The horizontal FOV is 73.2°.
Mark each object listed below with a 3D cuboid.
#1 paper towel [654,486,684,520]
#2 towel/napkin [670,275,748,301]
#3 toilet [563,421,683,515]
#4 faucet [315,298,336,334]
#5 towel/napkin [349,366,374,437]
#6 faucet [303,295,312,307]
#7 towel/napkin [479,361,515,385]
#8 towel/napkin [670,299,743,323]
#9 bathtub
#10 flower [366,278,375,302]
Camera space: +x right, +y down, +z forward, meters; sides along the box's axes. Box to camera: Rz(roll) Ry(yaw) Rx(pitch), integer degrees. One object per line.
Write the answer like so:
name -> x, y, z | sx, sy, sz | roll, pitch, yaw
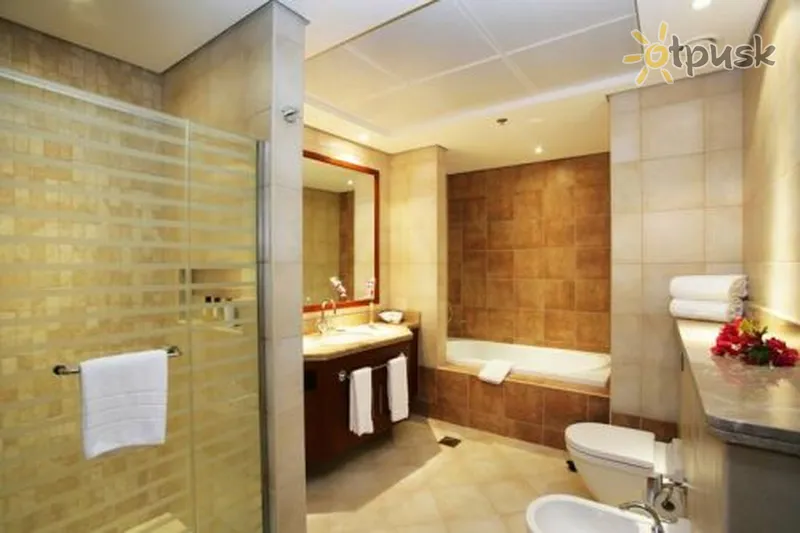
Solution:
paper towel -> 1.396, 1.227, 2.810 | 0.126, 0.142, 0.173 | 15, -2, 36
towel/napkin -> 2.064, 0.144, 3.623 | 0.453, 0.162, 0.189 | -1, 2, 31
toilet -> 1.511, 1.330, 3.598 | 0.730, 0.434, 0.535 | 2, 2, 31
faucet -> -0.662, 0.437, 4.768 | 0.149, 0.290, 0.403 | -2, 1, 2
towel/napkin -> -0.295, 1.068, 4.238 | 0.219, 0.530, 0.081 | -3, 2, -39
faucet -> -0.816, 0.299, 4.733 | 0.035, 0.094, 0.115 | -1, 2, 31
towel/napkin -> 0.862, 0.964, 4.946 | 0.232, 0.052, 0.223 | 1, 11, 35
towel/napkin -> 2.035, 0.291, 3.585 | 0.427, 0.145, 0.195 | -1, 1, 28
bathtub -> 1.211, 0.964, 5.479 | 1.976, 0.250, 1.099 | -1, 1, 36
flower -> -0.279, 0.215, 5.322 | 0.056, 0.228, 0.158 | -1, 2, 21
